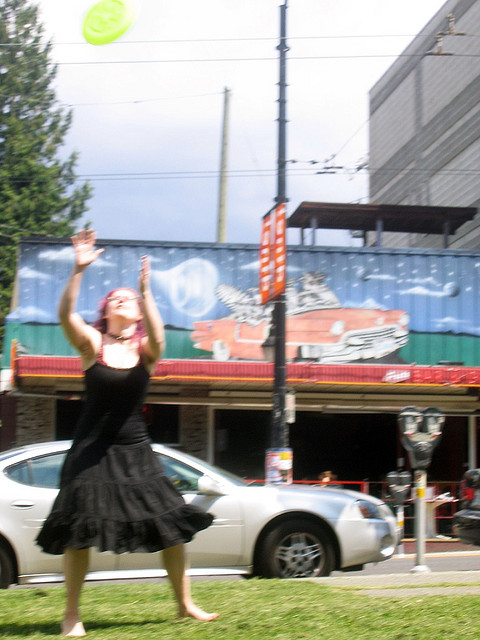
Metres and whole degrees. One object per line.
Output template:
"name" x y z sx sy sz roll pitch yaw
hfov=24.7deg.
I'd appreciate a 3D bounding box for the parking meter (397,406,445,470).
"parking meter" 1.884 1.218 11.351 0.433 0.645 0.285 0 -8 8
